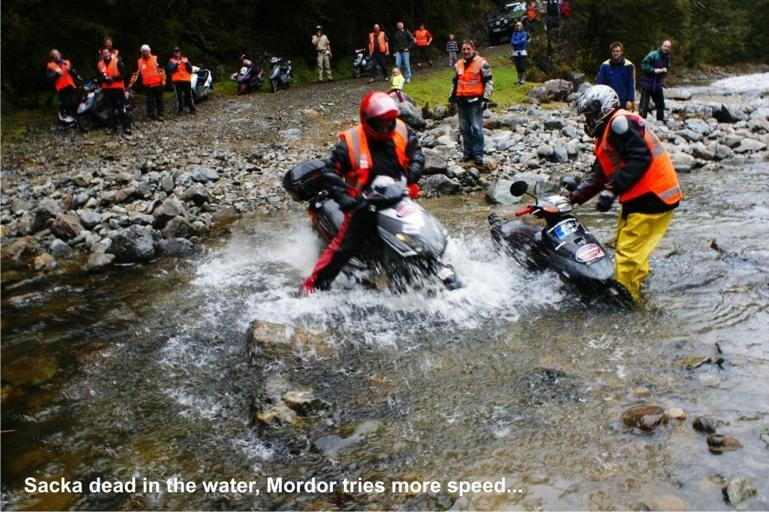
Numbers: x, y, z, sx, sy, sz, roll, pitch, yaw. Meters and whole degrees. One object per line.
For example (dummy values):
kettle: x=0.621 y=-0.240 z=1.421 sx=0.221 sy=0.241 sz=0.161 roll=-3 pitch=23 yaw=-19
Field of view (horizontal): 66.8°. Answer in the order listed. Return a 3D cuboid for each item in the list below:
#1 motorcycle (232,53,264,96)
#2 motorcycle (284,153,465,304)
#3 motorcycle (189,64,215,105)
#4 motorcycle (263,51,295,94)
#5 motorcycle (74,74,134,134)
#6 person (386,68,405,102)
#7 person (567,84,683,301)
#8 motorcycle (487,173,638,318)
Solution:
motorcycle: x=-5.236 y=-7.119 z=22.682 sx=0.867 sy=1.218 sz=1.898 roll=14 pitch=31 yaw=11
motorcycle: x=-0.284 y=-0.419 z=8.878 sx=1.059 sy=1.917 sz=3.539 roll=-25 pitch=34 yaw=-37
motorcycle: x=-6.614 y=-6.092 z=20.422 sx=0.630 sy=0.998 sz=1.908 roll=8 pitch=23 yaw=9
motorcycle: x=-4.161 y=-7.103 z=22.665 sx=0.661 sy=1.120 sz=1.385 roll=2 pitch=26 yaw=11
motorcycle: x=-8.606 y=-4.817 z=17.851 sx=0.963 sy=1.503 sz=2.314 roll=11 pitch=26 yaw=16
person: x=0.335 y=-5.338 z=18.329 sx=0.500 sy=1.235 sz=0.364 roll=2 pitch=36 yaw=9
person: x=3.217 y=-0.876 z=7.955 sx=0.982 sy=2.647 sz=1.254 roll=-19 pitch=29 yaw=-29
motorcycle: x=2.422 y=-0.404 z=8.712 sx=0.976 sy=1.609 sz=2.552 roll=-42 pitch=25 yaw=-6
